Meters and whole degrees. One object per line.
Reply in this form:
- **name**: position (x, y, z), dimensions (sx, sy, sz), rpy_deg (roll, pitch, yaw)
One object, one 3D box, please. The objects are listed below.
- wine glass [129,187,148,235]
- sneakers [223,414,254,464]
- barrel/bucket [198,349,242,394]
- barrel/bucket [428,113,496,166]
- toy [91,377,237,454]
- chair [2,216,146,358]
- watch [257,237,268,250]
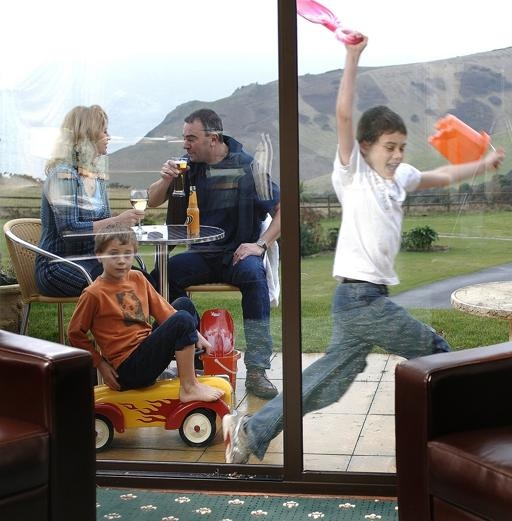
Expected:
- **wine glass**: position (-0.465, -0.191, 2.613), dimensions (0.071, 0.179, 0.022), rpy_deg (0, 12, 10)
- **sneakers**: position (-0.075, 0.709, 2.659), dimensions (0.115, 0.204, 0.079), rpy_deg (-5, -2, 7)
- **barrel/bucket**: position (-0.145, 0.424, 2.556), dimensions (0.185, 0.131, 0.173), rpy_deg (0, 0, 0)
- **barrel/bucket**: position (0.740, -0.451, 2.420), dimensions (0.185, 0.105, 0.094), rpy_deg (28, 45, -5)
- **toy**: position (-0.372, 0.598, 2.619), dimensions (0.561, 0.206, 0.270), rpy_deg (-3, 4, -1)
- **chair**: position (-0.786, 0.076, 2.871), dimensions (0.562, 0.602, 0.552), rpy_deg (0, 5, 1)
- **watch**: position (0.018, -0.062, 2.538), dimensions (0.047, 0.041, 0.029), rpy_deg (28, 50, 12)
